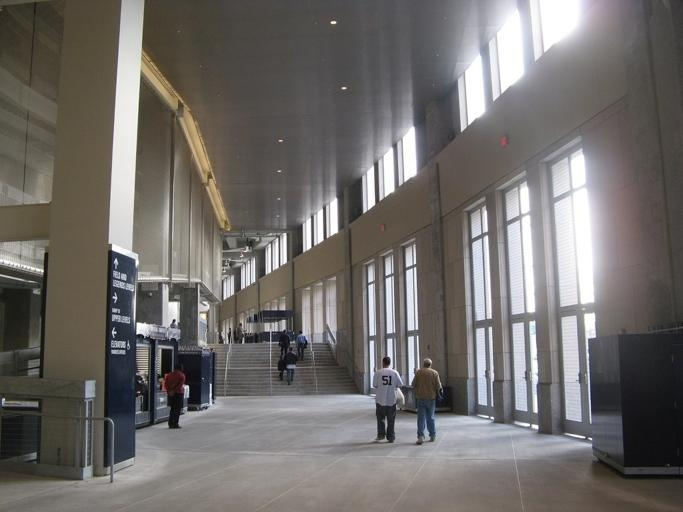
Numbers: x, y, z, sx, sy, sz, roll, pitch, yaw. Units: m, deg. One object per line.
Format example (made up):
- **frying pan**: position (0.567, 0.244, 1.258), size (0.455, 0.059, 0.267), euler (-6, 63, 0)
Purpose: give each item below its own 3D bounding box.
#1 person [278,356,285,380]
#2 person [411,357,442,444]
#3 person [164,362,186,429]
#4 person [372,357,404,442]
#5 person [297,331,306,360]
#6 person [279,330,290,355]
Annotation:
- **person**: position (-3.284, 6.229, 29.161), size (0.365, 1.231, 1.536), euler (-1, -14, -7)
- **person**: position (2.026, 3.398, 12.468), size (0.633, 1.893, 1.195), euler (-4, -13, 8)
- **person**: position (-4.859, 4.081, 15.363), size (0.556, 1.810, 1.272), euler (2, -14, -18)
- **person**: position (1.118, 3.413, 12.762), size (0.644, 2.018, 1.473), euler (-3, -13, 3)
- **person**: position (-2.382, 5.543, 32.493), size (0.600, 1.610, 1.701), euler (-1, -14, -6)
- **person**: position (-3.169, 4.895, 29.803), size (0.476, 1.274, 1.644), euler (0, -15, -9)
